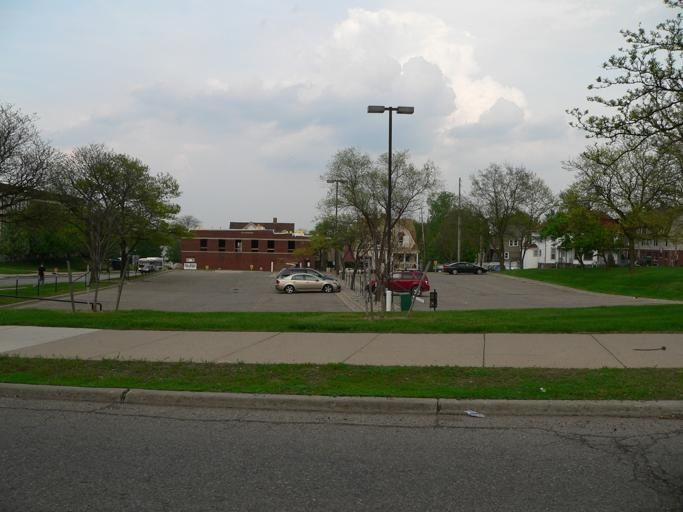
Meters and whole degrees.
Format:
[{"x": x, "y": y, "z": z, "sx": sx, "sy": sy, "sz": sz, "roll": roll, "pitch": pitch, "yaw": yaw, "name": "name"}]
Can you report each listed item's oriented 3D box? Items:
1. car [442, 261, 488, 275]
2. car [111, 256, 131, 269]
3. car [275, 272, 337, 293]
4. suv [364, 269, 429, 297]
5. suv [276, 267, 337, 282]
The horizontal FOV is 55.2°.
[{"x": 12.564, "y": 1.230, "z": 67.047, "sx": 3.829, "sy": 1.031, "sz": 1.624, "roll": 0, "pitch": -1, "yaw": 7, "name": "car"}, {"x": -21.549, "y": 0.699, "z": 63.724, "sx": 1.547, "sy": 1.147, "sz": 1.599, "roll": -1, "pitch": 0, "yaw": -29, "name": "car"}, {"x": -2.275, "y": 1.845, "z": 40.595, "sx": 3.357, "sy": 1.094, "sz": 1.505, "roll": -1, "pitch": 2, "yaw": -6, "name": "car"}, {"x": 3.347, "y": 1.248, "z": 36.542, "sx": 3.623, "sy": 1.407, "sz": 1.640, "roll": 3, "pitch": -3, "yaw": -1, "name": "suv"}, {"x": -2.382, "y": 1.565, "z": 42.813, "sx": 3.423, "sy": 1.229, "sz": 1.626, "roll": 0, "pitch": 1, "yaw": 3, "name": "suv"}]
